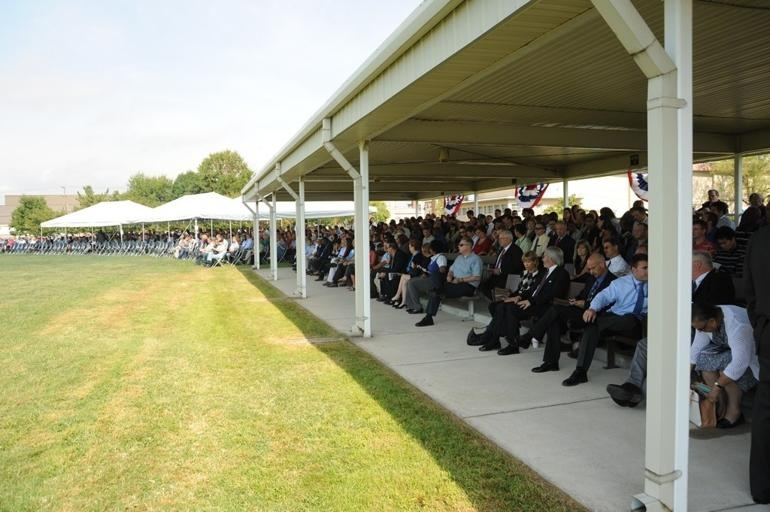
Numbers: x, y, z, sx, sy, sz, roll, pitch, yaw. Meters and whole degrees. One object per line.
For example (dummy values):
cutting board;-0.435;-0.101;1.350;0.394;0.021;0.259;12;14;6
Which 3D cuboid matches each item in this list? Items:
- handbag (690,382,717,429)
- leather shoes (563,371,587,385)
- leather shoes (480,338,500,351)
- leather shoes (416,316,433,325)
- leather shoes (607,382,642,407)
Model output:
handbag;3.381;1.581;5.339;0.261;0.511;0.313;5;12;39
leather shoes;2.497;1.560;6.580;0.343;0.217;0.146;0;1;-10
leather shoes;1.700;1.393;8.089;0.315;0.126;0.166;-1;-1;-8
leather shoes;0.785;1.244;9.838;0.333;0.131;0.158;1;-4;-19
leather shoes;2.788;1.586;5.815;0.284;0.114;0.200;16;23;-6
